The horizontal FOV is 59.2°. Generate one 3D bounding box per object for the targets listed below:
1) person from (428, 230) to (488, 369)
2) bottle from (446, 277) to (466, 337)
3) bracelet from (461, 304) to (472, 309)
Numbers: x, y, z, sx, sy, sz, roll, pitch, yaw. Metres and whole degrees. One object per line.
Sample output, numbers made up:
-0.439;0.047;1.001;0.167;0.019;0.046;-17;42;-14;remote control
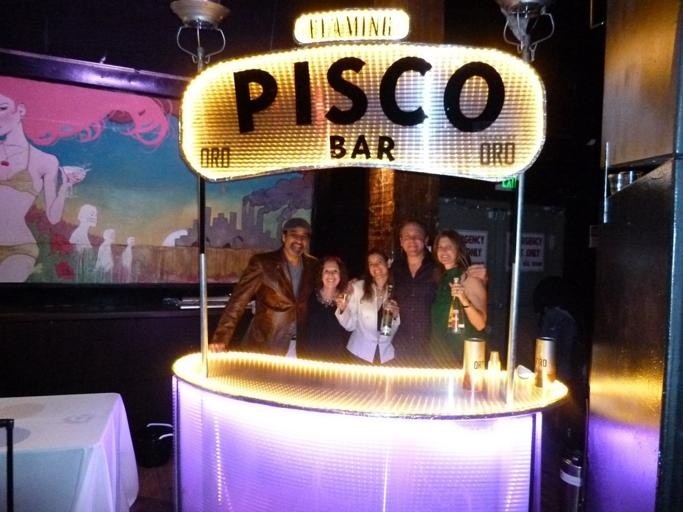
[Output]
0.721;0.263;3.669;0.309;0.837;0.446;2;-1;-1;person
0.683;0.356;3.541;0.091;0.244;0.211;1;-1;14;bottle
0.728;0.293;3.482;0.040;0.021;0.033;1;7;2;bracelet
